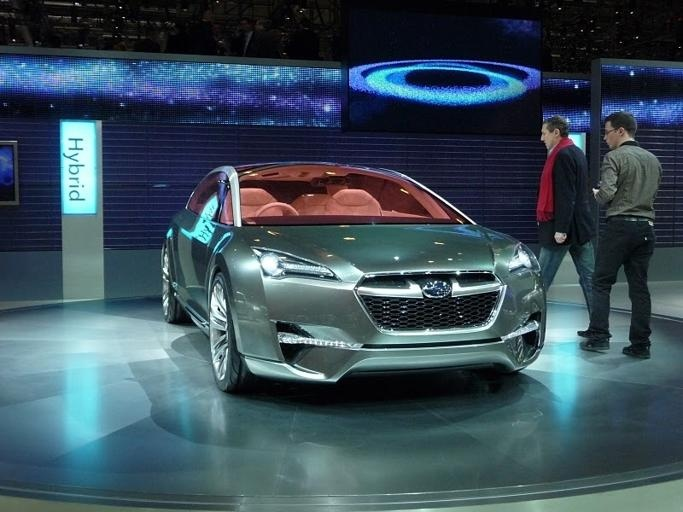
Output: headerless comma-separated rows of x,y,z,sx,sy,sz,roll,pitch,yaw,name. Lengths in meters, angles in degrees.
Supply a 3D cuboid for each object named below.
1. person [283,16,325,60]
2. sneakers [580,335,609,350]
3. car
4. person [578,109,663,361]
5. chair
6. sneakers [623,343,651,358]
-0.742,-4.125,9.054,0.656,0.945,0.574,-1,5,-9,person
2.241,0.780,4.269,0.115,0.083,0.222,-2,7,-20,sneakers
-0.337,0.120,3.872,1.851,0.975,2.945,0,0,-22,car
2.388,-0.200,4.084,0.528,2.071,0.499,3,7,28,person
-0.293,-0.395,3.944,1.628,0.380,0.550,-1,2,-17,chair
2.476,0.792,4.062,0.098,0.087,0.233,-2,6,-13,sneakers
